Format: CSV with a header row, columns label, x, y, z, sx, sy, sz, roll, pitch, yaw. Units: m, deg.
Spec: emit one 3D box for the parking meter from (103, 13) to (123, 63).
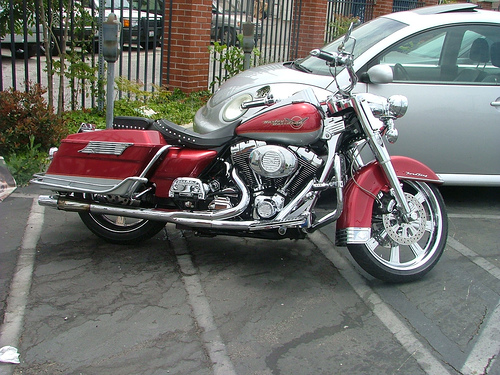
label,x,y,z,sx,sy,sz,roll,pitch,yaw
parking meter,-1.742,-1.914,4.790,0.308,0.610,0.249,21,26,23
